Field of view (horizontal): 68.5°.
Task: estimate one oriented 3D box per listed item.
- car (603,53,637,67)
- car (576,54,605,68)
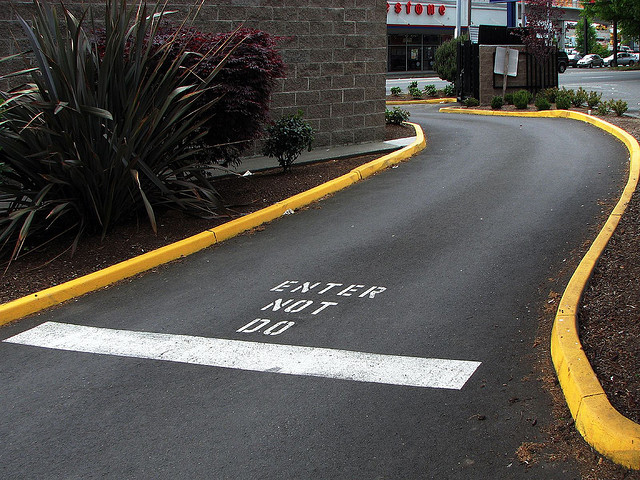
[{"bbox_3d":[39.084,-23.493,61.429,3.524,1.668,7.844,9,21,29],"label":"car"},{"bbox_3d":[35.822,-23.632,62.295,3.012,1.594,2.436,8,20,27],"label":"car"}]
